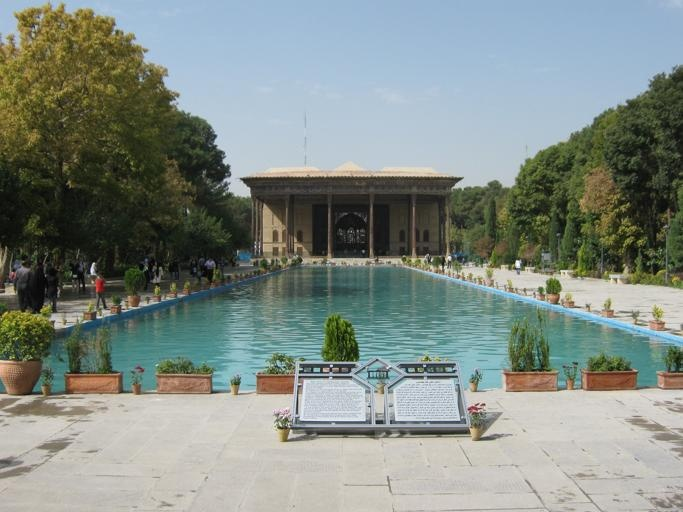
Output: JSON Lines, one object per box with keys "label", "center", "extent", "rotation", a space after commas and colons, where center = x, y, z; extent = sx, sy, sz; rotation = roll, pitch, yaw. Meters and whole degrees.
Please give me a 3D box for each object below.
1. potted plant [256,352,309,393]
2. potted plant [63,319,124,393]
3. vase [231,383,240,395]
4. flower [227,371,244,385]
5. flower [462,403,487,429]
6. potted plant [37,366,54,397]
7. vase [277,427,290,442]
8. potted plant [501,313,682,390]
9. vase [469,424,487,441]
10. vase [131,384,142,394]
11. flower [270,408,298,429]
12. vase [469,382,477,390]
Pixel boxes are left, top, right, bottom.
{"label": "potted plant", "center": [-1.121, 2.001, 11.403], "extent": [0.644, 0.575, 0.725], "rotation": [0, 2, 0]}
{"label": "potted plant", "center": [-4.985, 2.004, 13.339], "extent": [1.183, 1.637, 0.906], "rotation": [0, -4, -7]}
{"label": "vase", "center": [-1.794, 2.237, 11.253], "extent": [0.154, 0.142, 0.160], "rotation": [1, -7, -19]}
{"label": "flower", "center": [-2.009, 2.297, 12.618], "extent": [0.300, 0.347, 0.307], "rotation": [4, -30, -7]}
{"label": "flower", "center": [1.885, 2.188, 9.244], "extent": [0.352, 0.392, 0.331], "rotation": [0, -6, -3]}
{"label": "potted plant", "center": [-5.033, 2.142, 11.379], "extent": [0.169, 0.456, 0.621], "rotation": [-1, 2, -26]}
{"label": "vase", "center": [-0.775, 2.375, 8.973], "extent": [0.167, 0.147, 0.181], "rotation": [3, -3, 2]}
{"label": "potted plant", "center": [3.996, 1.679, 11.770], "extent": [1.838, 1.242, 1.943], "rotation": [1, 2, 30]}
{"label": "vase", "center": [1.842, 2.401, 9.092], "extent": [0.193, 0.162, 0.196], "rotation": [1, -11, -4]}
{"label": "vase", "center": [-3.460, 2.231, 11.249], "extent": [0.153, 0.169, 0.159], "rotation": [0, -7, -12]}
{"label": "flower", "center": [-0.778, 2.200, 9.135], "extent": [0.264, 0.287, 0.263], "rotation": [0, -8, -7]}
{"label": "vase", "center": [2.266, 2.246, 11.554], "extent": [0.128, 0.107, 0.131], "rotation": [0, -7, 0]}
